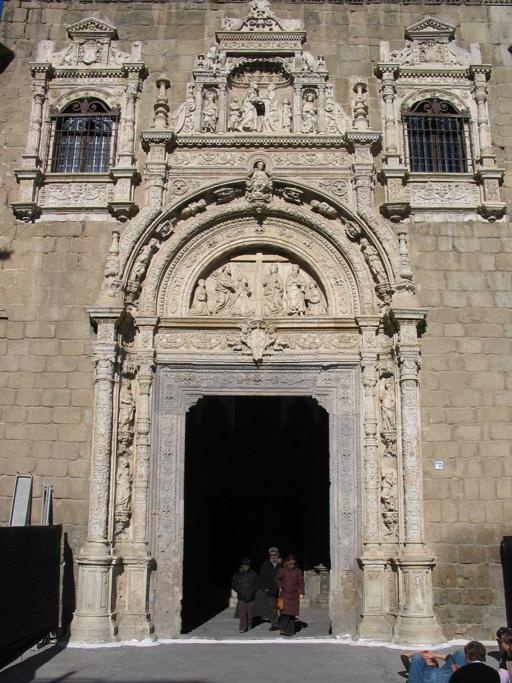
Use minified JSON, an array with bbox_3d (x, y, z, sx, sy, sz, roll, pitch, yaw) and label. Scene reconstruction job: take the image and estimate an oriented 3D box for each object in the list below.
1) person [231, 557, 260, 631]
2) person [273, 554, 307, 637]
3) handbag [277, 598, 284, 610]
[{"bbox_3d":[-0.183,4.158,11.632,0.431,1.124,0.956,1,-14,-1],"label":"person"},{"bbox_3d":[0.525,3.986,11.088,0.401,1.186,0.558,0,-14,2],"label":"person"},{"bbox_3d":[0.380,4.036,10.866,0.096,0.197,0.216,4,-11,-17],"label":"handbag"}]
